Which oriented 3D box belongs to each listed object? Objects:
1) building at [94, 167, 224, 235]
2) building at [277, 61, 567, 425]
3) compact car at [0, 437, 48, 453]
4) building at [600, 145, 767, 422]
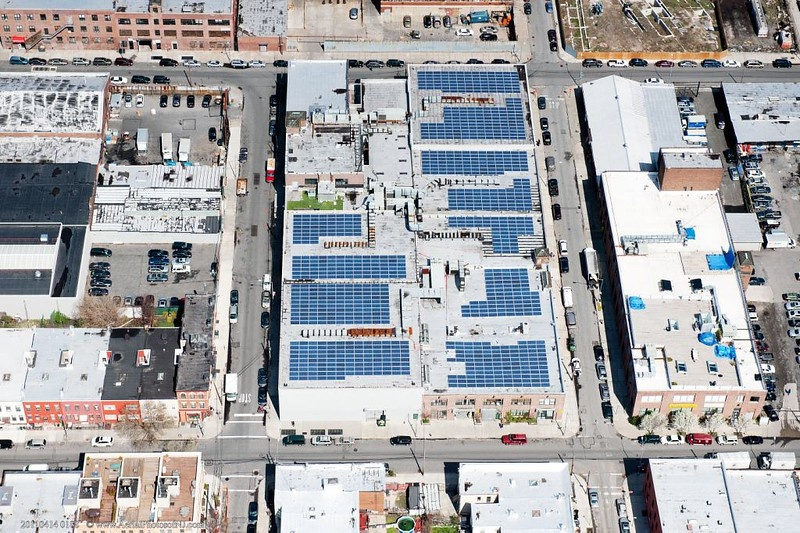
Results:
[{"bbox_3d":[-81.422,-15.865,364.320,36.545,8.556,23.793,0,67,-3],"label":"building"},{"bbox_3d":[5.557,-1.666,368.819,80.013,28.299,110.883,0,70,-2],"label":"building"},{"bbox_3d":[-109.127,52.287,314.683,12.836,1.930,3.016,-1,88,-1],"label":"compact car"},{"bbox_3d":[89.129,3.427,346.745,44.223,30.972,93.771,2,54,0],"label":"building"}]
